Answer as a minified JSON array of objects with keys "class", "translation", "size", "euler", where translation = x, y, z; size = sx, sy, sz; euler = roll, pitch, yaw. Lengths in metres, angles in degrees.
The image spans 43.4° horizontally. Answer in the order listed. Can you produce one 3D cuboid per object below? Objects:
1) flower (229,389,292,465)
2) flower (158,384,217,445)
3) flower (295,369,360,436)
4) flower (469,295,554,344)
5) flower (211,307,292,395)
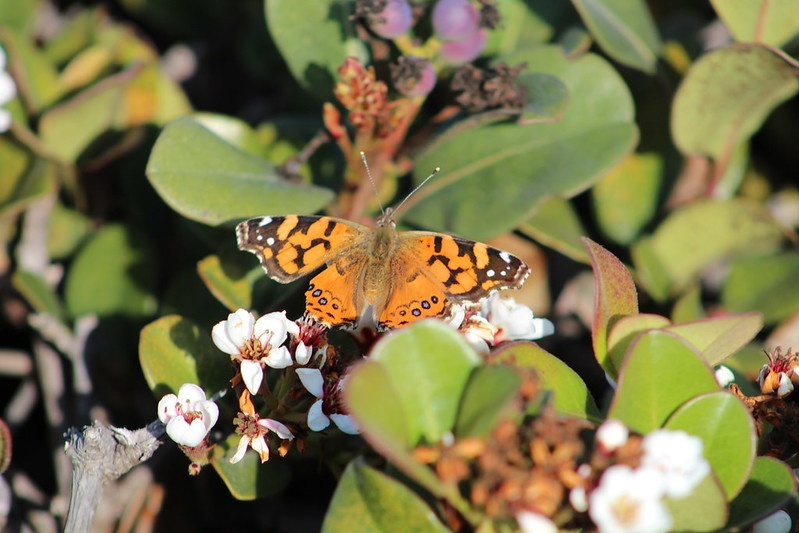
[{"class":"flower","translation":[-0.354,0.424,2.516],"size":[0.144,0.136,0.132],"euler":[9,42,22]},{"class":"flower","translation":[-0.534,0.372,2.545],"size":[0.116,0.165,0.096],"euler":[8,-1,10]},{"class":"flower","translation":[-0.179,0.358,2.541],"size":[0.122,0.202,0.167],"euler":[-14,38,-8]},{"class":"flower","translation":[0.281,0.153,2.703],"size":[0.197,0.114,0.213],"euler":[0,19,-22]},{"class":"flower","translation":[-0.377,0.225,2.535],"size":[0.231,0.134,0.233],"euler":[1,25,-9]}]
